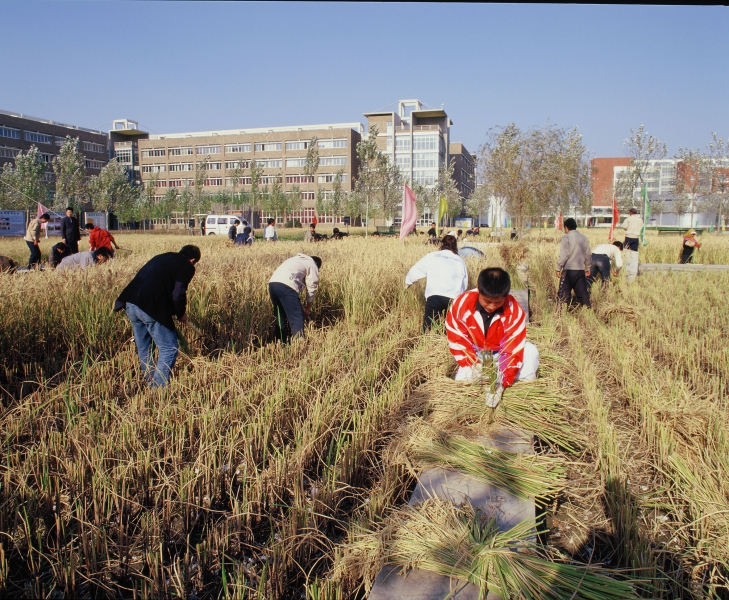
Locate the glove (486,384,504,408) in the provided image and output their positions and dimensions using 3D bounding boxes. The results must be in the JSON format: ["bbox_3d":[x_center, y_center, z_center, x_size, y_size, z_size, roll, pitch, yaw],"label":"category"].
[{"bbox_3d":[0.945,0.694,4.350,0.139,0.151,0.071,-1,6,-22],"label":"glove"}]

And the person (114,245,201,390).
[{"bbox_3d":[-1.927,0.080,5.777,0.740,1.177,0.971,-3,8,-34],"label":"person"}]

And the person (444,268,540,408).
[{"bbox_3d":[1.001,0.232,4.643,0.693,0.969,0.762,1,6,1],"label":"person"}]

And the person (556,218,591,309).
[{"bbox_3d":[3.407,-0.588,9.817,0.521,1.435,1.293,3,7,20],"label":"person"}]

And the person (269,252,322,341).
[{"bbox_3d":[-0.835,-0.015,7.196,0.608,1.005,0.617,0,6,-7],"label":"person"}]
